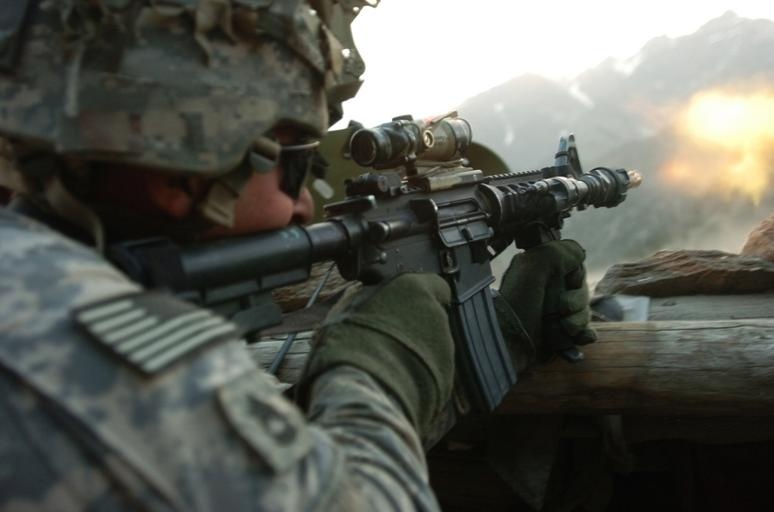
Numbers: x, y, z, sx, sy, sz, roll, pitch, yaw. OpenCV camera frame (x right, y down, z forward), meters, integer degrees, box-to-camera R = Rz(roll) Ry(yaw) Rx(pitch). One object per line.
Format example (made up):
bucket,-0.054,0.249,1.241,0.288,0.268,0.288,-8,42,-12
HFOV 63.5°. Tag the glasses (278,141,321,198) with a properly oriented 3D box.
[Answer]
glasses,-0.255,-0.251,1.781,0.064,0.148,0.110,16,16,40

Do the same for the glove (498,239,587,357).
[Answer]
glove,0.737,0.221,3.103,0.451,0.546,0.264,3,-10,-15
